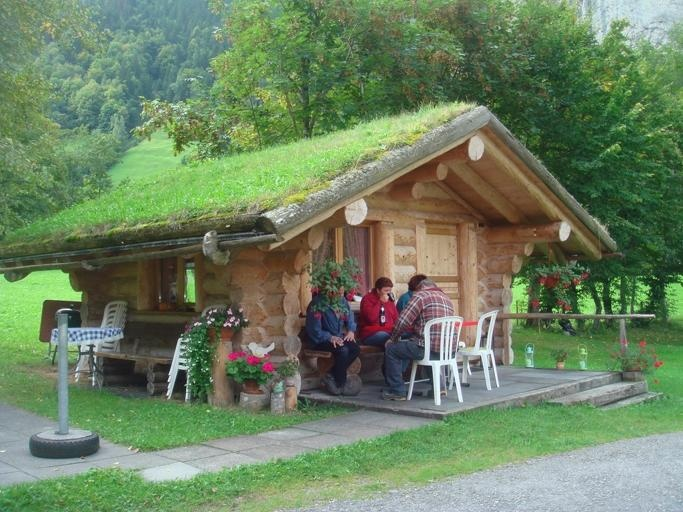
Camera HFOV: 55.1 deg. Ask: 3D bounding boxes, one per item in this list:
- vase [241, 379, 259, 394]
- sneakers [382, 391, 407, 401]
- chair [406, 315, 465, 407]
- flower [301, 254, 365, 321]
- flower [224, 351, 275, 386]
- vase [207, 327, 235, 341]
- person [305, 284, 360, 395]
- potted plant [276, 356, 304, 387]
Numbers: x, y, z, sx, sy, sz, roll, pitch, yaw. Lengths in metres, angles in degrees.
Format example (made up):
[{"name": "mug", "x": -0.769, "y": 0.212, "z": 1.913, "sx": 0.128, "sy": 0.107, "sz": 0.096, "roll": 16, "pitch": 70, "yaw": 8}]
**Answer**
[{"name": "vase", "x": -1.435, "y": 2.056, "z": 10.241, "sx": 0.217, "sy": 0.145, "sz": 0.221, "roll": -9, "pitch": -14, "yaw": 41}, {"name": "sneakers", "x": 0.822, "y": 2.220, "z": 10.292, "sx": 0.322, "sy": 0.129, "sz": 0.143, "roll": 6, "pitch": 0, "yaw": 10}, {"name": "chair", "x": 1.532, "y": 1.618, "z": 10.211, "sx": 0.930, "sy": 1.381, "sz": 0.854, "roll": -1, "pitch": 7, "yaw": -18}, {"name": "flower", "x": -0.280, "y": 0.486, "z": 10.691, "sx": 0.944, "sy": 1.111, "sz": 1.163, "roll": -4, "pitch": -1, "yaw": 22}, {"name": "flower", "x": -1.456, "y": 1.805, "z": 10.302, "sx": 0.782, "sy": 0.474, "sz": 0.754, "roll": 15, "pitch": 3, "yaw": 9}, {"name": "vase", "x": -1.910, "y": 1.228, "z": 10.339, "sx": 0.271, "sy": 0.120, "sz": 0.267, "roll": -1, "pitch": -4, "yaw": 24}, {"name": "person", "x": -0.142, "y": 1.374, "z": 10.658, "sx": 0.887, "sy": 1.755, "sz": 0.573, "roll": 1, "pitch": 7, "yaw": -4}, {"name": "potted plant", "x": -0.807, "y": 1.805, "z": 10.372, "sx": 0.463, "sy": 0.474, "sz": 0.433, "roll": -4, "pitch": 5, "yaw": -35}]
